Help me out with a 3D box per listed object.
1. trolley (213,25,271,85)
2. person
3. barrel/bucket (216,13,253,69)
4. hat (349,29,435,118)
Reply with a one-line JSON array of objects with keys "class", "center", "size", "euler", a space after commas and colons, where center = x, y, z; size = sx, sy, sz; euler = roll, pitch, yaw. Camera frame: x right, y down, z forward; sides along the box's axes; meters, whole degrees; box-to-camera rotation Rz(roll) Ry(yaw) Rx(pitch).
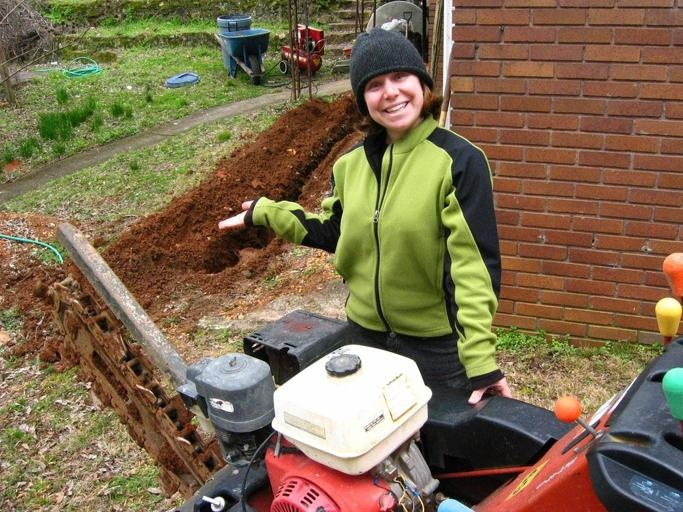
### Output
[{"class": "trolley", "center": [-2.267, -4.821, 14.194], "size": [0.774, 0.792, 2.122], "euler": [-11, 40, -15]}, {"class": "person", "center": [0.287, -0.211, 2.689], "size": [0.609, 1.435, 1.290], "euler": [-31, 38, -34]}, {"class": "barrel/bucket", "center": [-2.604, -5.415, 14.705], "size": [0.743, 0.816, 0.753], "euler": [0, 28, 0]}, {"class": "hat", "center": [0.192, -0.816, 2.640], "size": [0.282, 0.296, 0.313], "euler": [-23, 23, 1]}]
